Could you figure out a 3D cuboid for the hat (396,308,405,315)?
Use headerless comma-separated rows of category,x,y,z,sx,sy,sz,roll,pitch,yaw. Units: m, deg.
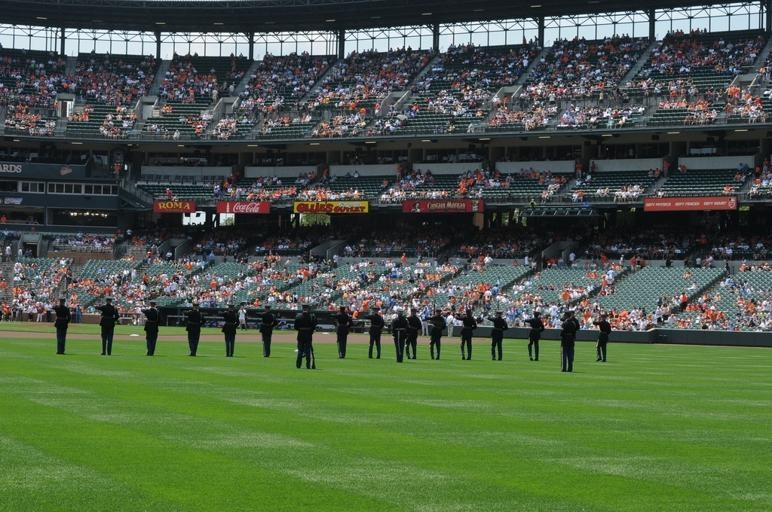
hat,0.617,3.139,101.344,0.459,0.286,0.425,1,3,7

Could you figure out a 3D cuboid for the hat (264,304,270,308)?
hat,-6.740,2.842,103.377,0.409,0.210,0.379,1,-2,-1

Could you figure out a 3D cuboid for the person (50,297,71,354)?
person,-17.551,3.899,100.259,0.782,2.161,0.927,2,1,-9
